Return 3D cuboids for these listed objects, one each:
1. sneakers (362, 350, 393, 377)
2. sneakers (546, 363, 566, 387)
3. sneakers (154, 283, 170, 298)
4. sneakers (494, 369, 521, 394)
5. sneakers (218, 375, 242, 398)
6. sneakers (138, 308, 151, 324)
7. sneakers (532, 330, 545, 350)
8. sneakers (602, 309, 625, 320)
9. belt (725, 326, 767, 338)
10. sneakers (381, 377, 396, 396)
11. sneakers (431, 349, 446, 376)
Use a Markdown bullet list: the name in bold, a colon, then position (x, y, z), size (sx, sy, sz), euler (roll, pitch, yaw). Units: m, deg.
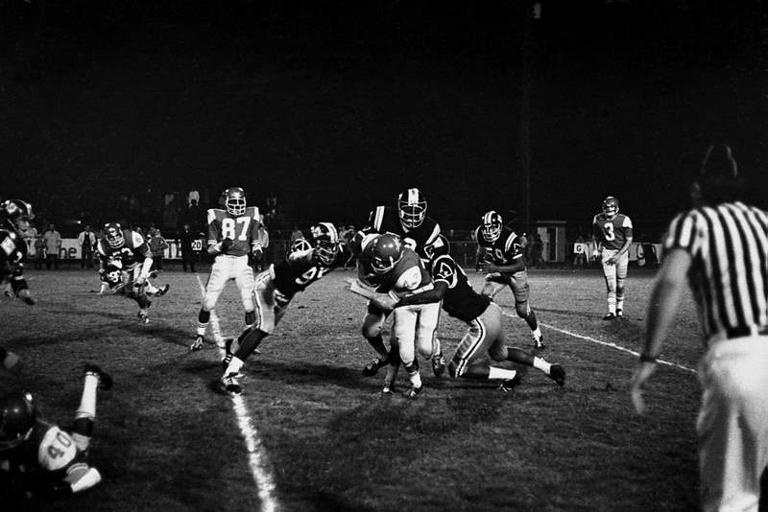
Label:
- **sneakers**: position (-0.075, 1.341, 7.801), size (0.460, 0.160, 0.189), euler (-31, -36, 6)
- **sneakers**: position (1.977, 1.352, 7.173), size (0.165, 0.301, 0.284), euler (3, 9, 23)
- **sneakers**: position (-5.014, 0.775, 14.187), size (0.257, 0.192, 0.575), euler (-8, -23, -9)
- **sneakers**: position (1.428, 1.391, 7.148), size (0.266, 0.253, 0.316), euler (1, 8, 9)
- **sneakers**: position (-1.687, 1.430, 7.006), size (0.140, 0.168, 0.409), euler (3, 18, -44)
- **sneakers**: position (-4.455, 1.156, 11.551), size (0.195, 0.255, 0.594), euler (6, -27, -20)
- **sneakers**: position (2.300, 1.253, 9.346), size (0.112, 0.264, 0.197), euler (-16, -44, 17)
- **sneakers**: position (4.364, 1.111, 11.981), size (0.546, 0.185, 0.180), euler (-1, -4, -39)
- **belt**: position (2.225, 0.465, 3.840), size (0.238, 0.076, 0.048), euler (1, 8, 8)
- **sneakers**: position (0.048, 1.412, 7.096), size (0.161, 0.206, 0.308), euler (0, 8, 1)
- **sneakers**: position (0.643, 1.305, 7.684), size (0.127, 0.352, 0.157), euler (-2, 10, 23)
